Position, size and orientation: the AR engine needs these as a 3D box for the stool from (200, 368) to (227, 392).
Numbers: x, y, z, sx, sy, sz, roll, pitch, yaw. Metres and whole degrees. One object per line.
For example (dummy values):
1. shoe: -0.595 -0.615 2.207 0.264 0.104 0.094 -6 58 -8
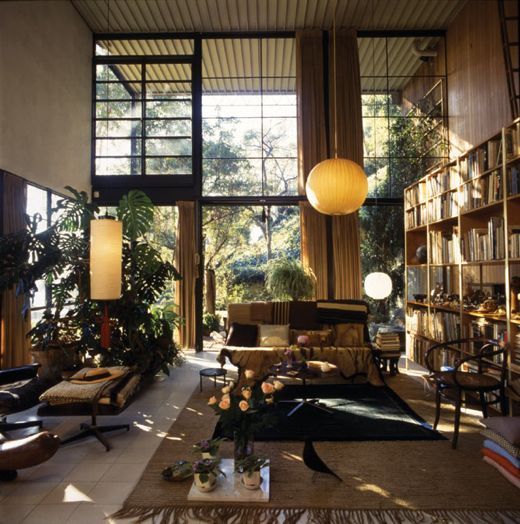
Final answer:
1. stool: -0.533 1.265 5.301 0.324 0.328 0.336 -1 -9 0

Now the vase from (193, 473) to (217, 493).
1. vase: -0.364 1.453 3.100 0.127 0.147 0.136 1 -10 1

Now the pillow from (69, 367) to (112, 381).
1. pillow: -1.506 1.005 4.217 0.219 0.063 0.229 0 1 -12

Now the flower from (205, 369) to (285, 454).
1. flower: -0.181 1.097 3.207 0.349 0.348 0.315 -32 -37 22

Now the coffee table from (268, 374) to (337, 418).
1. coffee table: 0.410 1.335 4.642 0.570 0.361 0.602 0 -5 -9

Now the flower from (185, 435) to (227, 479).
1. flower: -0.384 1.327 3.257 0.275 0.127 0.290 1 2 -23

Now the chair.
1. chair: 1.796 1.100 4.078 0.548 0.886 0.681 -1 2 -9

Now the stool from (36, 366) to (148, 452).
1. stool: -1.412 1.130 3.966 0.523 0.445 0.808 0 2 -2

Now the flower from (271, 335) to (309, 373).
1. flower: 0.317 1.007 5.120 0.368 0.212 0.538 0 -1 4

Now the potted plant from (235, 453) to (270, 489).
1. potted plant: -0.057 1.395 3.194 0.180 0.145 0.190 0 -5 27
